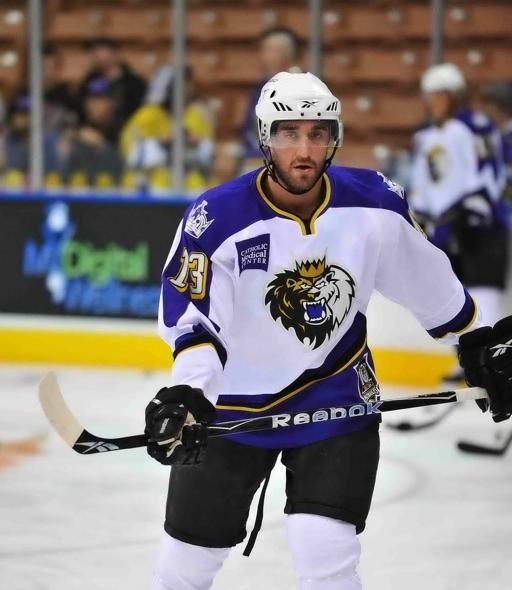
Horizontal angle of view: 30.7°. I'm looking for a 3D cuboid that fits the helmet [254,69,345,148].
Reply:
[{"bbox_3d":[0.105,-0.390,2.095,0.175,0.180,0.209,0,6,0],"label":"helmet"}]
